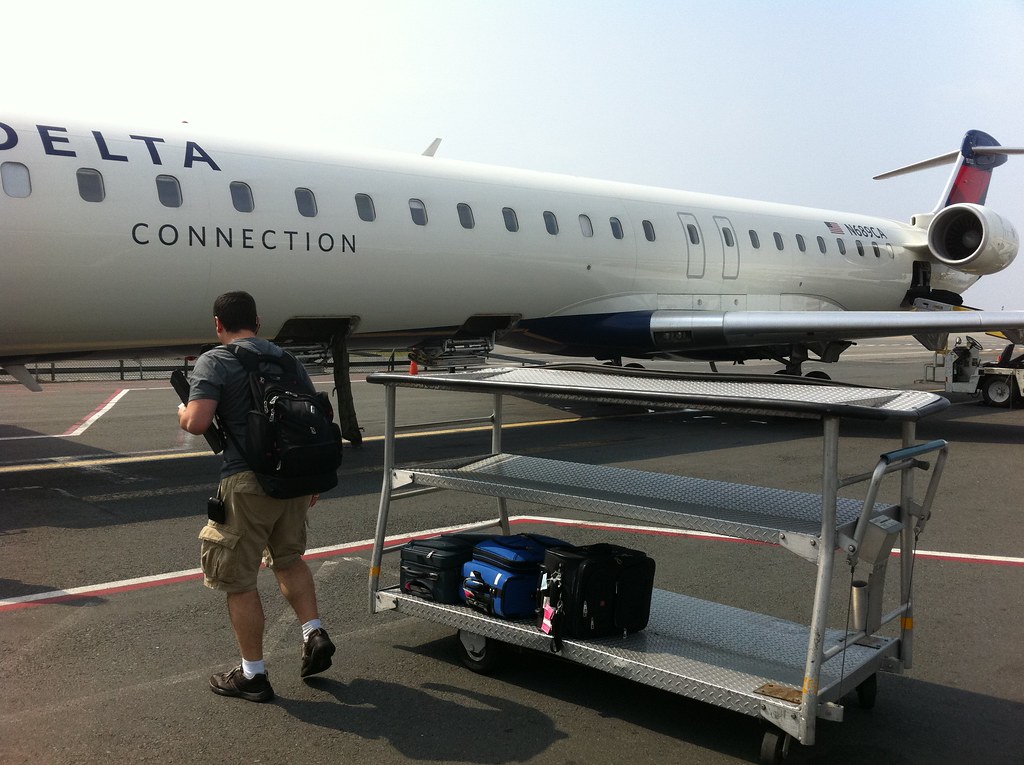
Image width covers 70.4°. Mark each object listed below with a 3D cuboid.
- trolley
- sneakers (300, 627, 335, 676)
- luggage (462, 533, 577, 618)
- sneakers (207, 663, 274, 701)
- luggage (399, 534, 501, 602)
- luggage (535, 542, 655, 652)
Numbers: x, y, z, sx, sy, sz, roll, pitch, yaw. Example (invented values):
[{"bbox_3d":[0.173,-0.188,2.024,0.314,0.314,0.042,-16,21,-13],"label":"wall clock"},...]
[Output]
[{"bbox_3d":[0.950,0.950,4.583,2.993,2.028,1.284,3,4,34],"label":"trolley"},{"bbox_3d":[-1.241,1.680,4.563,0.192,0.397,0.164,-12,57,-37],"label":"sneakers"},{"bbox_3d":[0.052,1.333,5.024,0.821,0.398,0.757,1,-2,26],"label":"luggage"},{"bbox_3d":[-1.668,1.814,4.410,0.450,0.181,0.107,1,3,13],"label":"sneakers"},{"bbox_3d":[-0.505,1.289,5.141,0.407,0.327,0.551,1,0,30],"label":"luggage"},{"bbox_3d":[0.525,1.325,4.619,0.757,0.515,0.422,9,-7,-38],"label":"luggage"}]
